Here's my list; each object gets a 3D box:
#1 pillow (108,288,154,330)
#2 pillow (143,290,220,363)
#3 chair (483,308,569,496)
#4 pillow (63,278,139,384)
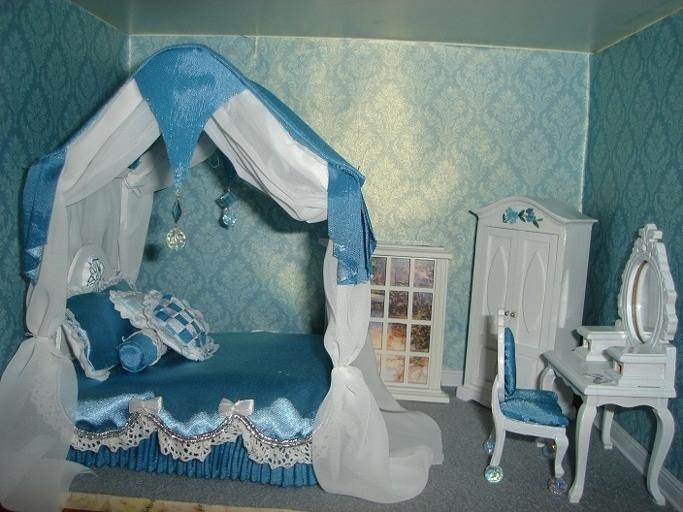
[{"bbox_3d":[-1.586,0.366,4.353,0.290,0.288,0.077,7,-40,-45],"label":"pillow"},{"bbox_3d":[-1.312,0.479,4.470,0.151,0.530,0.351,-33,-49,26],"label":"pillow"},{"bbox_3d":[1.340,1.012,4.163,0.555,1.234,0.451,2,3,21],"label":"chair"},{"bbox_3d":[-1.709,0.558,4.125,0.120,0.540,0.518,-16,-4,21],"label":"pillow"}]
